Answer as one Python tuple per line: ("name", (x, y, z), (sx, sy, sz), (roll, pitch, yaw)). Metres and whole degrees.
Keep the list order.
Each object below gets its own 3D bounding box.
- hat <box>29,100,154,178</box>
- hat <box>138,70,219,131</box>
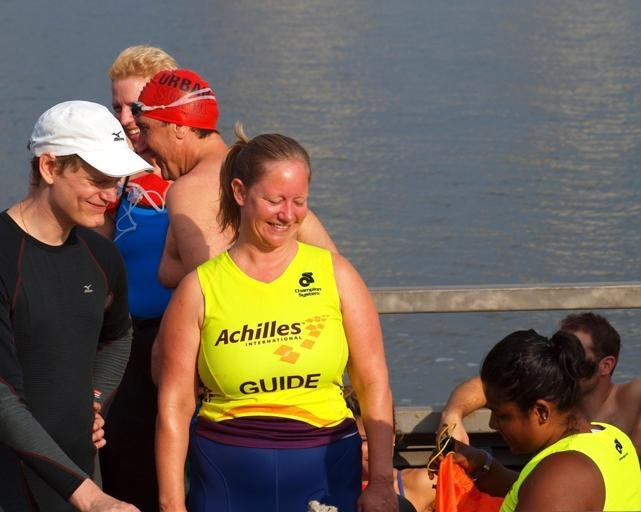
("hat", (-1.419, -0.745, 7.897), (0.658, 0.326, 0.439), (7, 5, 8))
("hat", (-0.961, -1.059, 8.679), (0.480, 0.321, 0.421), (7, 6, 5))
